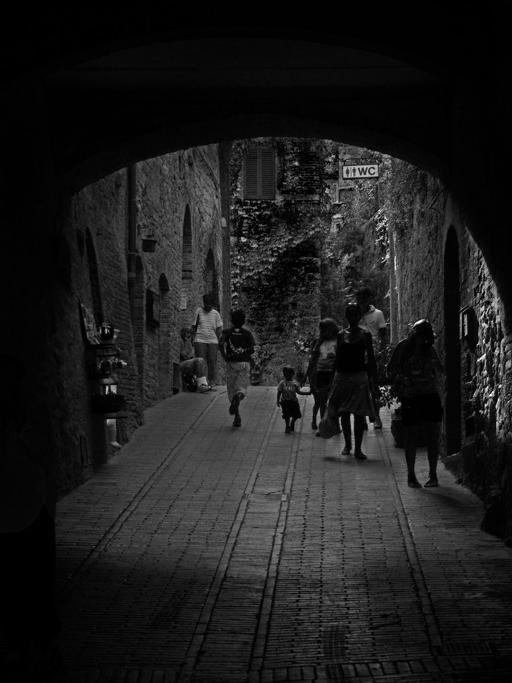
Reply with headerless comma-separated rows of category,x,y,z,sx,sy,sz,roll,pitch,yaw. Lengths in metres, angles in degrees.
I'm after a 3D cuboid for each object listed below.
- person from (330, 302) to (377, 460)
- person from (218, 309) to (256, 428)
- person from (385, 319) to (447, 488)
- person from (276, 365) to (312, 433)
person,1.271,0.501,8.395,0.585,1.989,1.187,0,3,11
person,-0.326,0.396,10.846,0.559,1.866,1.701,0,3,-3
person,1.690,0.654,6.834,0.553,1.752,0.473,0,3,10
person,0.686,1.037,11.379,0.504,1.627,0.563,-3,-15,4
